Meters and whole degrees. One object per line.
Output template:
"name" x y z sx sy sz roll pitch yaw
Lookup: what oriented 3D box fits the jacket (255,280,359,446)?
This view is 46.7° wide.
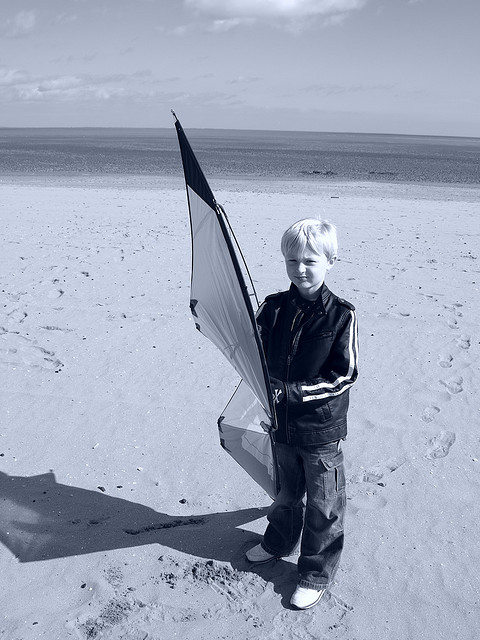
"jacket" 0.325 0.212 2.700 0.456 0.779 0.482 -4 17 -1

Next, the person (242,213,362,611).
"person" 0.303 0.452 2.787 0.580 1.908 0.695 -5 17 -4

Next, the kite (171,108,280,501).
"kite" -0.018 0.192 2.713 0.416 2.289 0.965 -5 17 -5

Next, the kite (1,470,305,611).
"kite" -0.702 1.243 3.352 1.994 0.207 0.798 -1 20 11
